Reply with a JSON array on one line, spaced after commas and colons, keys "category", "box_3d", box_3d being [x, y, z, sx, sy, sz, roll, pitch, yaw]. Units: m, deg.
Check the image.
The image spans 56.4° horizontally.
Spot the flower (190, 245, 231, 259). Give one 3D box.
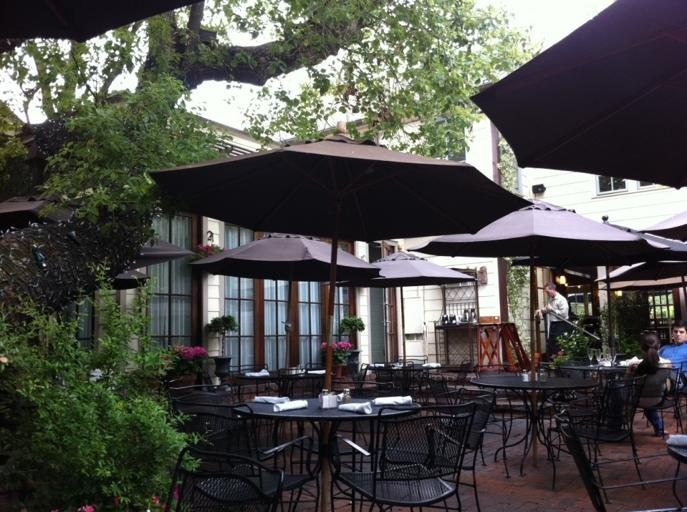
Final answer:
[{"category": "flower", "box_3d": [-2.234, -0.088, 10.621, 0.460, 0.258, 0.437, 2, -4, -30]}]

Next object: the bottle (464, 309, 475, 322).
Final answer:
[{"category": "bottle", "box_3d": [3.010, 1.428, 15.375, 0.276, 0.284, 0.275, -2, -2, 17]}]

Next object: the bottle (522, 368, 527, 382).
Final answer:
[{"category": "bottle", "box_3d": [1.930, 1.278, 6.839, 0.087, 0.119, 0.078, 1, -1, 10]}]

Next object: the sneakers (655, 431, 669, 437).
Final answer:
[{"category": "sneakers", "box_3d": [4.120, 2.305, 8.313, 0.130, 0.038, 0.109, -1, -6, -16]}]

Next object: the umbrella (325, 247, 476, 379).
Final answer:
[{"category": "umbrella", "box_3d": [0.820, 0.898, 10.657, 2.224, 1.786, 2.137, 2, -11, 0]}]

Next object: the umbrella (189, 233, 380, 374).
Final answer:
[{"category": "umbrella", "box_3d": [-1.145, 0.838, 10.613, 2.754, 1.798, 2.646, 0, -12, 11]}]

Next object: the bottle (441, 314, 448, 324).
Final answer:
[{"category": "bottle", "box_3d": [2.445, 1.541, 15.598, 0.190, 0.239, 0.182, -1, -4, 0]}]

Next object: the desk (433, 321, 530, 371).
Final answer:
[{"category": "desk", "box_3d": [3.027, 2.046, 14.879, 2.086, 1.032, 1.452, -9, -15, 41]}]
